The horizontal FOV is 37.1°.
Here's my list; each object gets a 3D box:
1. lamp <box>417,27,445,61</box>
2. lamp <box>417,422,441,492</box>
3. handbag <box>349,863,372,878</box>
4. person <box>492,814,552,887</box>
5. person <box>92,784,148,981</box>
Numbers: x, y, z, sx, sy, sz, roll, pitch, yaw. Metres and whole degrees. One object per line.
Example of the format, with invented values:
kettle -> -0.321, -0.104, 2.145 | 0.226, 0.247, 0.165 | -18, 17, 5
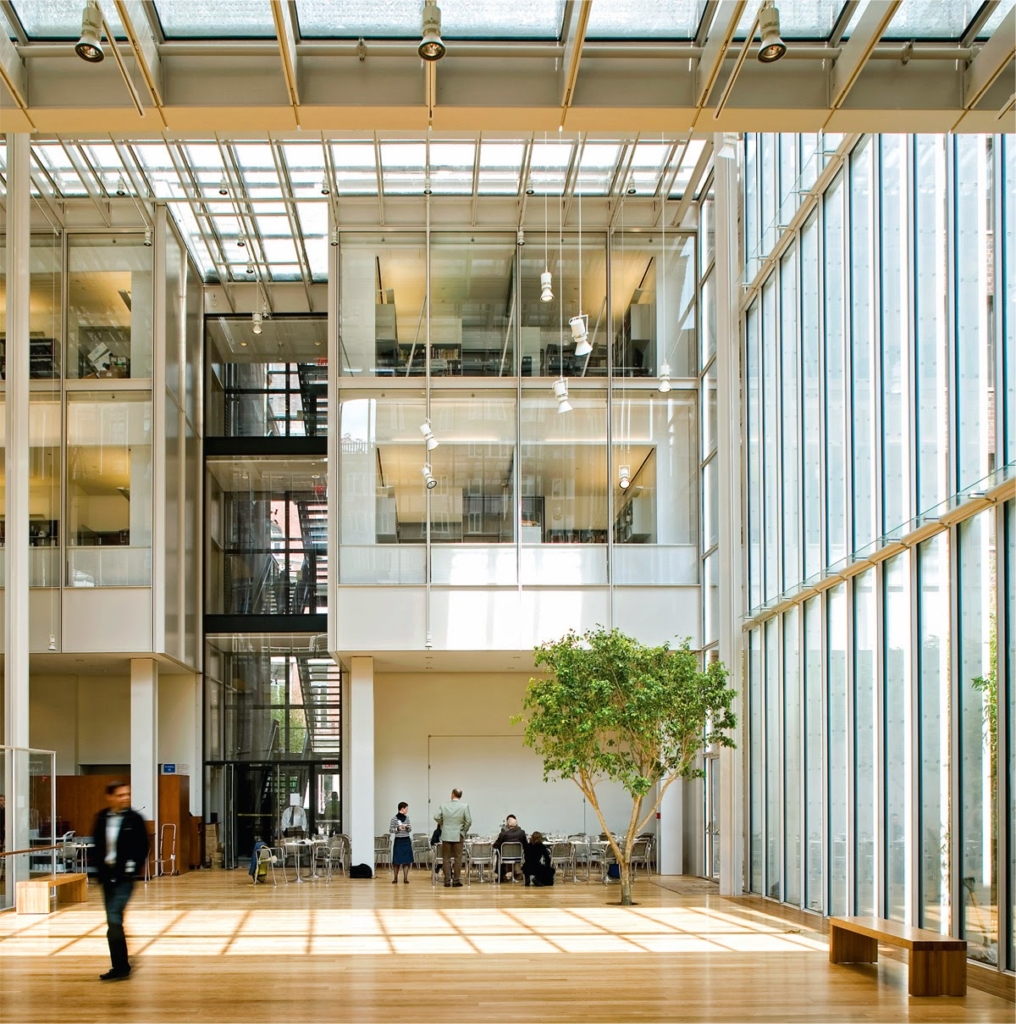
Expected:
lamp -> -0.496, -2.996, 9.755 | 0.155, 0.196, 0.185 | -3, -42, 1
lamp -> -1.270, -0.948, 24.066 | 0.305, 1.139, 0.956 | -1, -11, -3
handbag -> -2.313, 5.618, 23.617 | 0.253, 0.210, 0.199 | 2, -14, -3
person -> 0.300, 5.222, 23.077 | 0.879, 1.461, 0.971 | -1, -3, 1
person -> -3.223, 3.038, 12.552 | 0.432, 1.564, 1.179 | 1, -11, -16
